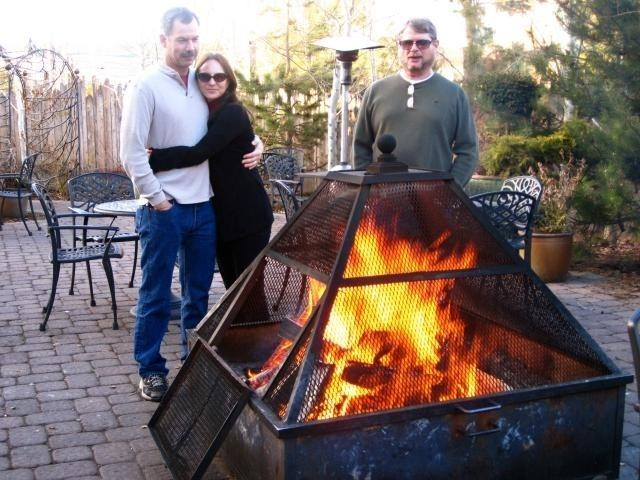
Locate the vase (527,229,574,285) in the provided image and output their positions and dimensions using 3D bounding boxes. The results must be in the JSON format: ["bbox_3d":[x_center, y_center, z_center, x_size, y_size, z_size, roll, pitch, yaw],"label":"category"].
[{"bbox_3d":[2.602,0.175,5.729,0.516,0.577,0.572,-8,7,-12],"label":"vase"}]

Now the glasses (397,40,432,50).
[{"bbox_3d":[0.625,-1.282,3.321,0.200,0.068,0.059,3,12,11],"label":"glasses"}]

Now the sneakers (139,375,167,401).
[{"bbox_3d":[-1.013,0.889,3.111,0.120,0.140,0.285,5,-7,-30],"label":"sneakers"}]

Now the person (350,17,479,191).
[{"bbox_3d":[0.655,-0.856,3.566,0.803,1.326,0.573,1,-5,17],"label":"person"}]

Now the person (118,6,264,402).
[{"bbox_3d":[-0.903,-0.204,3.092,0.276,2.311,0.537,11,16,42],"label":"person"}]
